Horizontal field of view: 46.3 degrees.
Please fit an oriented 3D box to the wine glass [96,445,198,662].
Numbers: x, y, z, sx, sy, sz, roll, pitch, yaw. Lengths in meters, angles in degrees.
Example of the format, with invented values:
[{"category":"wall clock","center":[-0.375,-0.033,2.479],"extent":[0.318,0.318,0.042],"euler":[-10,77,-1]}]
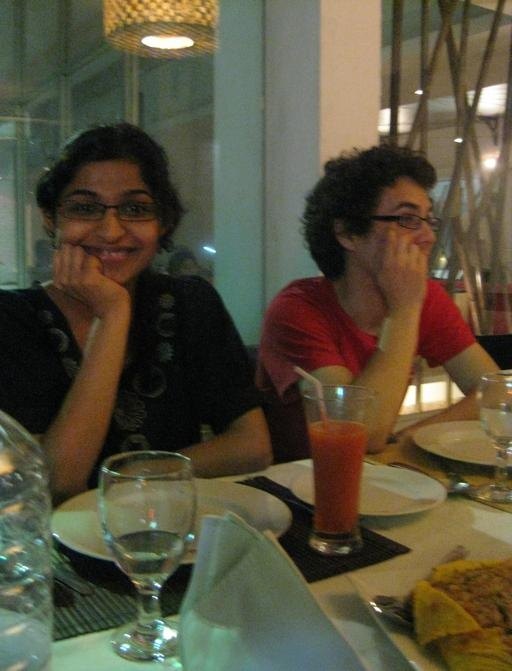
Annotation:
[{"category":"wine glass","center":[-0.099,0.187,0.538],"extent":[0.084,0.137,0.160],"euler":[1,6,-13]}]
